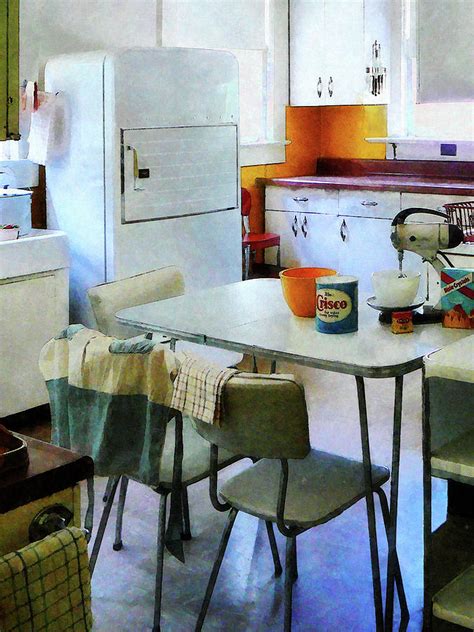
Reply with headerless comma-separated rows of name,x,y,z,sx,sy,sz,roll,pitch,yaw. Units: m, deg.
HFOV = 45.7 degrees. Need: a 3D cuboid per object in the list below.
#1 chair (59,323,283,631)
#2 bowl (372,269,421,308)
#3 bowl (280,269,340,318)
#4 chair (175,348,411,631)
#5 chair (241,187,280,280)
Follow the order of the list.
chair,-0.278,0.419,1.525,0.435,0.834,0.389,2,11,17
bowl,0.447,-0.075,1.613,0.107,0.088,0.119,-1,3,-3
bowl,0.211,-0.086,1.716,0.147,0.123,0.164,1,7,5
chair,0.149,0.532,1.570,0.495,0.941,0.581,8,17,36
chair,0.219,-0.766,5.093,0.479,0.802,0.509,-8,12,-16
